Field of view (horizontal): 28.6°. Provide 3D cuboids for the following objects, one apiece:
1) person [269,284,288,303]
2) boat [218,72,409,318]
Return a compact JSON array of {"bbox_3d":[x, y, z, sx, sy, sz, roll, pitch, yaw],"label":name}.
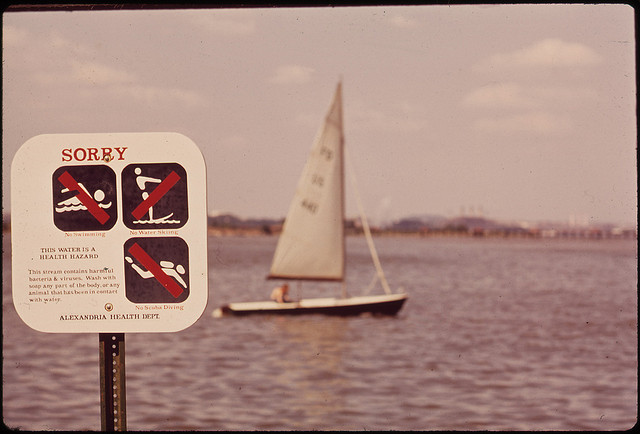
[{"bbox_3d":[-2.547,4.649,76.924,0.893,1.083,1.166,0,0,-18],"label":"person"},{"bbox_3d":[-0.696,-0.708,77.140,13.618,13.934,3.113,1,0,-30],"label":"boat"}]
